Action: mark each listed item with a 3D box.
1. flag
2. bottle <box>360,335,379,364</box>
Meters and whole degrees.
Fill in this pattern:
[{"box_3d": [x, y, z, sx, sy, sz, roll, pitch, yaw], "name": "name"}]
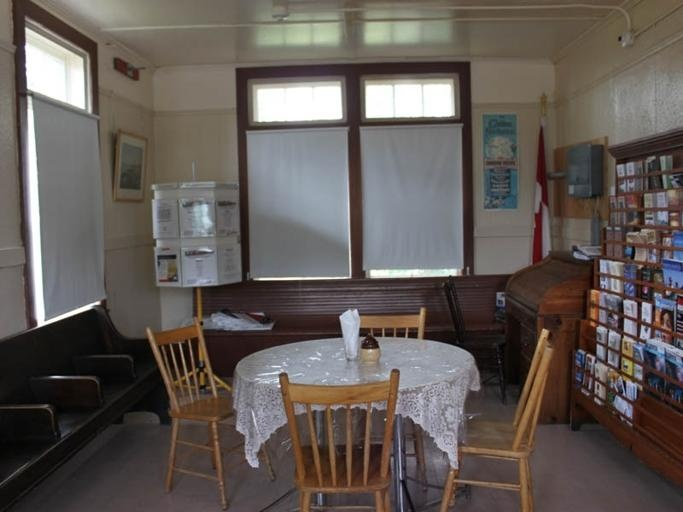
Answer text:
[{"box_3d": [2.307, -0.917, 5.984, 0.200, 1.949, 0.391, -1, 5, 23], "name": "flag"}, {"box_3d": [0.182, 0.606, 3.340, 0.145, 0.219, 0.151, 0, -4, 0], "name": "bottle"}]
